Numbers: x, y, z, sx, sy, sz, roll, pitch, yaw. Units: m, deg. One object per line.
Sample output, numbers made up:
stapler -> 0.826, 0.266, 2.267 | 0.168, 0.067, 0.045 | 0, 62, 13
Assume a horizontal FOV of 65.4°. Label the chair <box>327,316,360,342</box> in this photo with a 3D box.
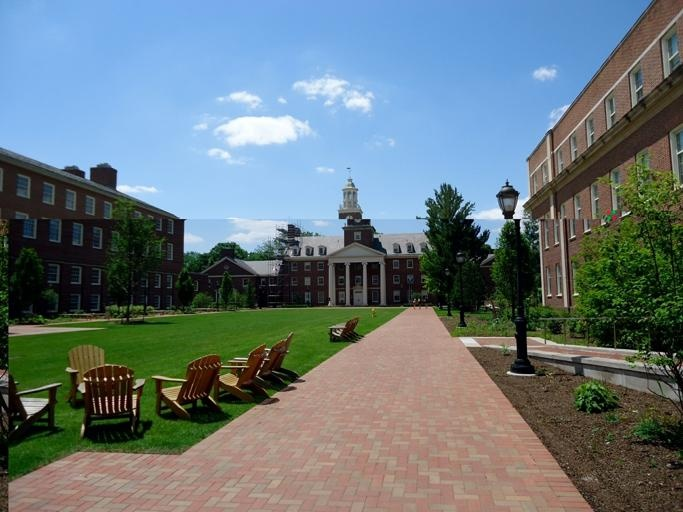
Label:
chair -> 0.117, 2.980, 21.210 | 0.893, 0.630, 1.598 | -2, 0, 15
